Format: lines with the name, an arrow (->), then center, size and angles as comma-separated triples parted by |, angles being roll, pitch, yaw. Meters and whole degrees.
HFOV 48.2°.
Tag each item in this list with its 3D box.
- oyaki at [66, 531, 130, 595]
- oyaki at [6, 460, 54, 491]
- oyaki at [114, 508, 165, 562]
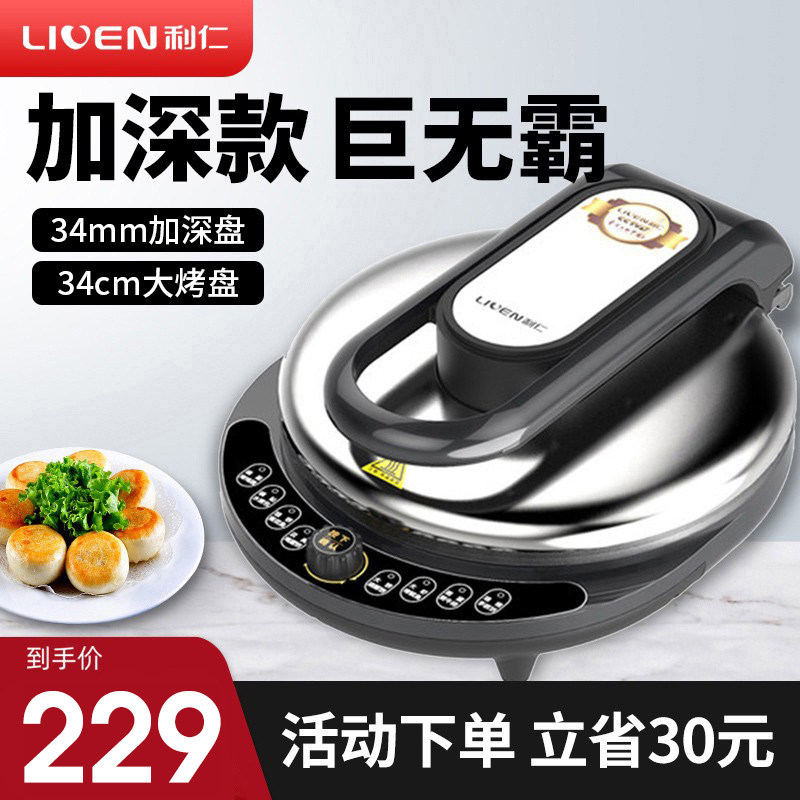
oyaki -> -0.507, 0.274, 1.496 | 0.106, 0.071, 0.092 | 22, 35, 40
oyaki -> -0.678, 0.135, 1.612 | 0.069, 0.015, 0.058 | -8, 36, 0
oyaki -> -0.446, 0.234, 1.529 | 0.098, 0.055, 0.081 | -3, 48, -9
